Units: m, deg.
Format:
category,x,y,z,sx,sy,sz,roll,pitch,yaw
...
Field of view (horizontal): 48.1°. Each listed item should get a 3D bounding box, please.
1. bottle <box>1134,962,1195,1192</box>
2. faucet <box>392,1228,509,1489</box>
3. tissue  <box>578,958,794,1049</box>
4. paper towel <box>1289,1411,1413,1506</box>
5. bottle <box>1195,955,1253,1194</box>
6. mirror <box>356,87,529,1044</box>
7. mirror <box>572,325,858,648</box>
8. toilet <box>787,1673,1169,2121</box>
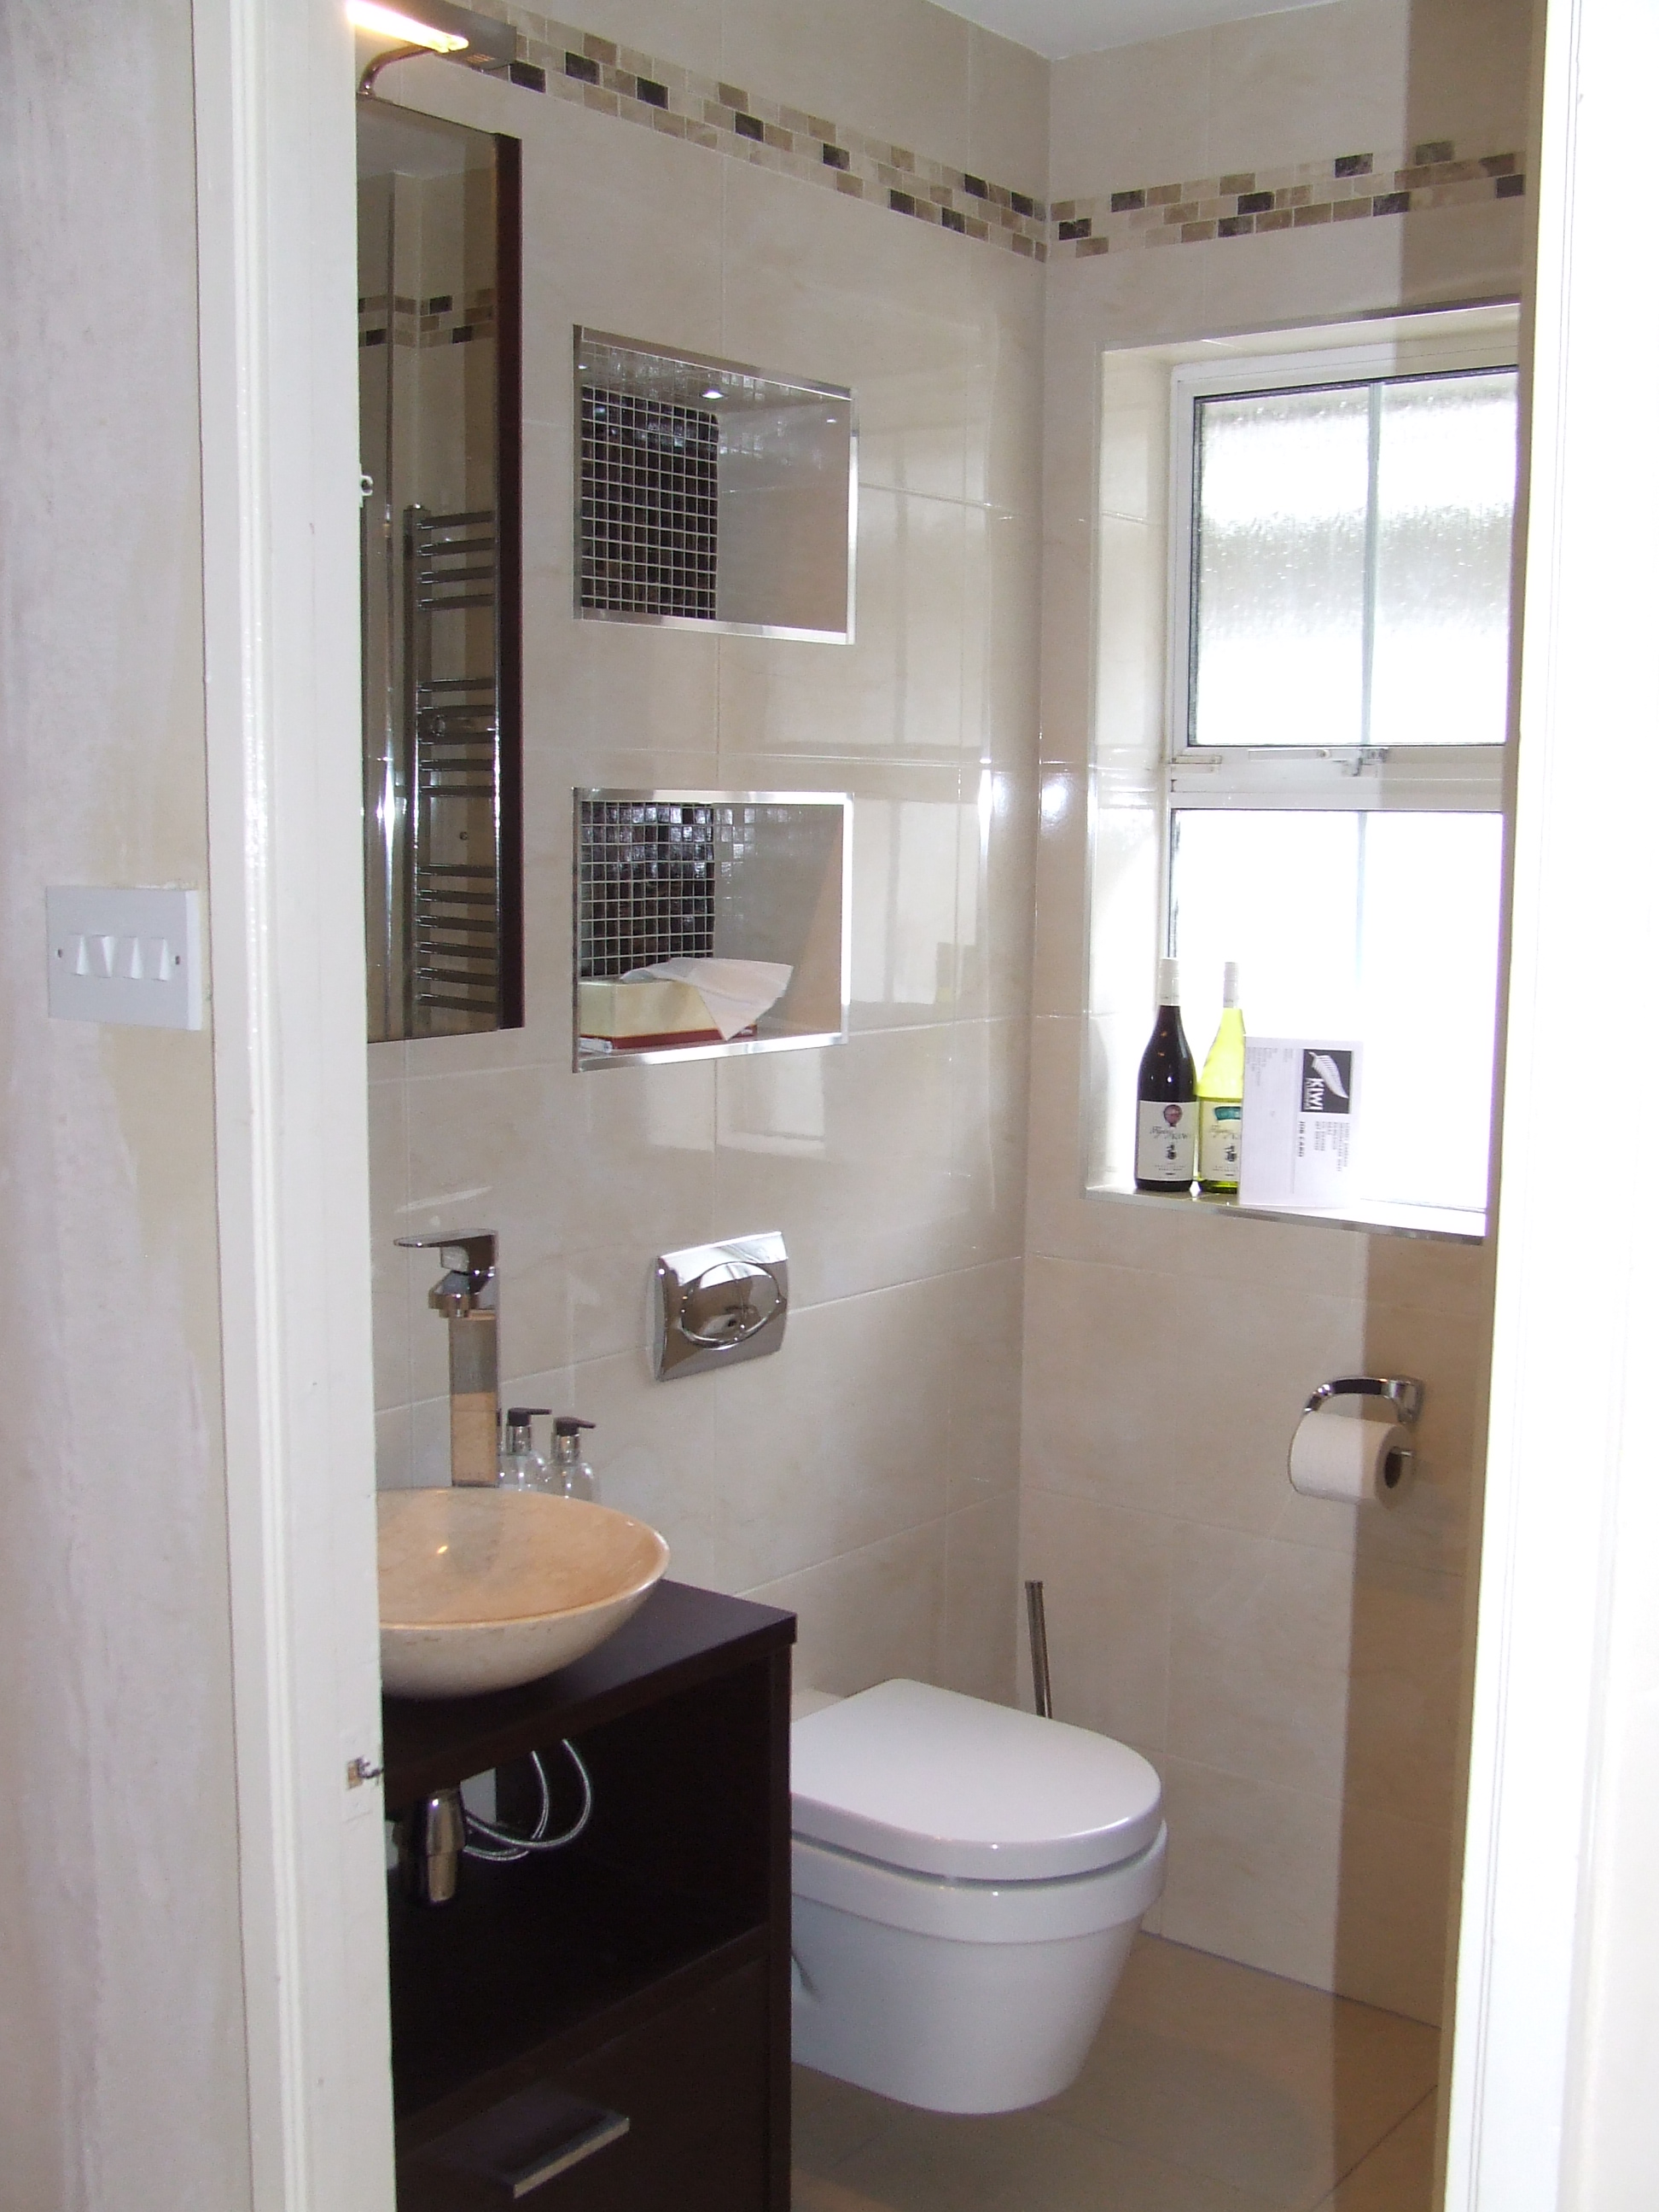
category,x,y,z,sx,sy,sz,roll,pitch,yaw
bottle,0.451,-0.039,2.521,0.079,0.310,0.082,-1,3,0
faucet,-0.338,0.229,1.668,0.079,0.240,0.134,-2,3,-13
tissue ,-0.152,-0.116,2.064,0.047,0.096,0.386,1,5,29
paper towel,0.602,0.402,2.157,0.090,0.125,0.114,30,-21,-29
bottle,0.520,-0.038,2.495,0.061,0.308,0.181,0,3,11
mirror,-0.367,-0.487,1.737,0.071,0.846,0.204,2,4,36
mirror,-0.120,-0.667,2.041,0.042,0.311,0.468,1,5,35
toilet,0.154,0.794,1.997,0.394,0.378,0.312,2,6,35
